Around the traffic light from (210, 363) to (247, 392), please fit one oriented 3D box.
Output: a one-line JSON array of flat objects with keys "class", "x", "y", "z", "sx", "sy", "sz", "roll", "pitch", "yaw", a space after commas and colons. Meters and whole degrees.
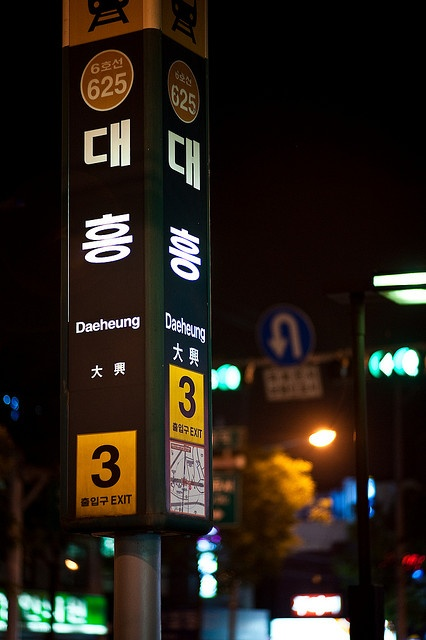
[{"class": "traffic light", "x": 0.235, "y": 1.053, "z": 17.475, "sx": 0.511, "sy": 0.473, "sz": 0.497, "roll": -9, "pitch": -1, "yaw": -2}]
